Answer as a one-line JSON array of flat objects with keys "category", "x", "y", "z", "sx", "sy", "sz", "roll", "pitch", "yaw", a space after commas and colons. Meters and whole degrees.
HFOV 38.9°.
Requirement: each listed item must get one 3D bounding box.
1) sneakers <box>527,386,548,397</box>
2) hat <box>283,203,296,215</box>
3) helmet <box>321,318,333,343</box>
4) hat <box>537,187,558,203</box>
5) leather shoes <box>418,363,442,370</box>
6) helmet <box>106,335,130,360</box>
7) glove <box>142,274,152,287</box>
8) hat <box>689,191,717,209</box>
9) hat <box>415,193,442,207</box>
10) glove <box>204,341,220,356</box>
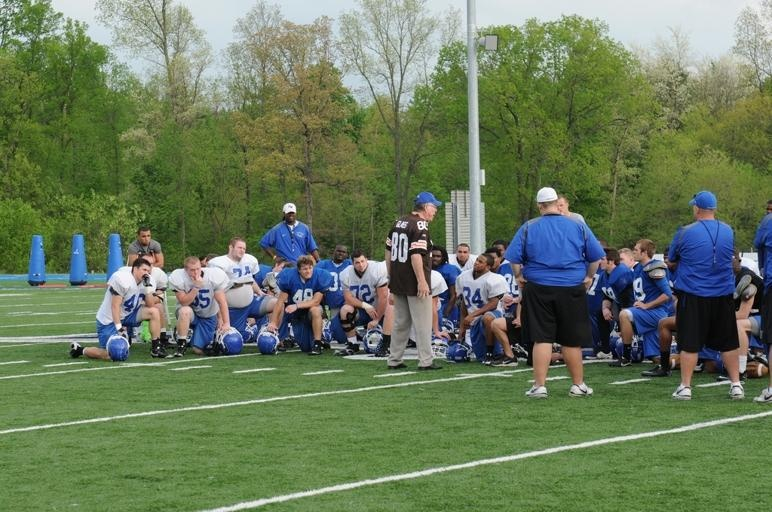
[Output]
[{"category": "sneakers", "x": 2.713, "y": 2.471, "z": 19.795, "sx": 0.176, "sy": 0.163, "sz": 0.399, "roll": -2, "pitch": -1, "yaw": -33}, {"category": "hat", "x": -2.240, "y": -1.115, "z": 25.663, "sx": 0.405, "sy": 0.272, "sz": 0.531, "roll": 0, "pitch": 1, "yaw": -9}, {"category": "helmet", "x": -1.305, "y": 1.707, "z": 24.365, "sx": 0.390, "sy": 0.416, "sz": 0.426, "roll": 3, "pitch": 6, "yaw": -4}, {"category": "hat", "x": 2.932, "y": -1.127, "z": 20.112, "sx": 0.285, "sy": 0.184, "sz": 0.376, "roll": -4, "pitch": -3, "yaw": -5}, {"category": "leather shoes", "x": 0.886, "y": 2.235, "z": 21.776, "sx": 0.457, "sy": 0.163, "sz": 0.155, "roll": -2, "pitch": -2, "yaw": -5}, {"category": "helmet", "x": -5.560, "y": 1.930, "z": 22.733, "sx": 0.559, "sy": 0.455, "sz": 0.421, "roll": 18, "pitch": 11, "yaw": 37}, {"category": "glove", "x": -4.992, "y": 0.515, "z": 22.995, "sx": 0.195, "sy": 0.216, "sz": 0.222, "roll": 8, "pitch": -26, "yaw": -2}, {"category": "hat", "x": 5.708, "y": -1.038, "z": 19.909, "sx": 0.376, "sy": 0.239, "sz": 0.474, "roll": -4, "pitch": 10, "yaw": -26}, {"category": "hat", "x": 0.860, "y": -1.141, "z": 21.891, "sx": 0.469, "sy": 0.219, "sz": 0.301, "roll": 3, "pitch": 6, "yaw": -19}, {"category": "glove", "x": -3.738, "y": 2.034, "z": 23.550, "sx": 0.261, "sy": 0.283, "sz": 0.323, "roll": 36, "pitch": -7, "yaw": -5}]
